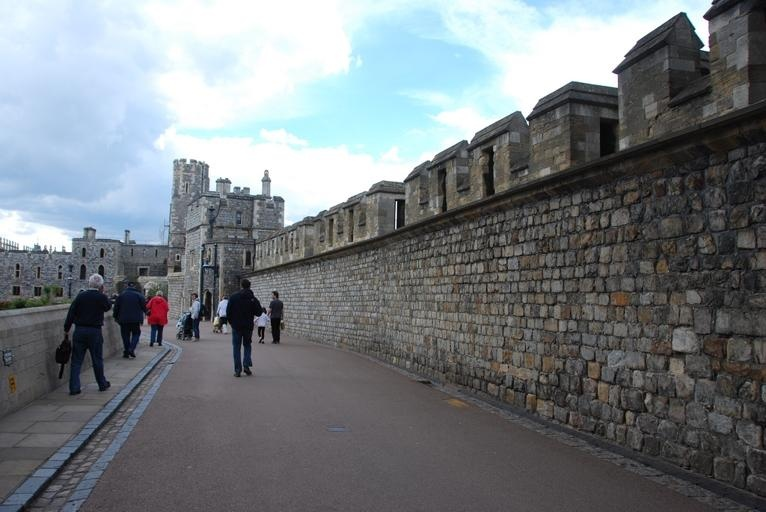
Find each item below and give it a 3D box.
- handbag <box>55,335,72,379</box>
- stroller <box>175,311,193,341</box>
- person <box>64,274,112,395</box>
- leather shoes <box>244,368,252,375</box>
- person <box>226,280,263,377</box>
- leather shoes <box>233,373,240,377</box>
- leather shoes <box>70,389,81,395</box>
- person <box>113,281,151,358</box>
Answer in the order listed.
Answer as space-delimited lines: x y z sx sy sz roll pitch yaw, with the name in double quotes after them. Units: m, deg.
-5.010 1.595 9.666 0.227 0.823 0.795 0 4 -27 "handbag"
-6.614 2.315 20.472 0.446 0.940 0.947 0 4 -21 "stroller"
-4.867 1.265 10.175 0.657 1.942 1.456 0 4 -24 "person"
-2.607 2.232 11.931 0.172 0.184 0.098 -2 -1 19 "leather shoes"
-2.681 1.390 11.829 0.595 1.844 0.584 3 4 15 "person"
-2.780 2.258 11.734 0.046 0.092 0.120 0 4 -42 "leather shoes"
-4.792 2.112 9.573 0.149 0.082 0.192 1 3 -21 "leather shoes"
-5.791 1.462 14.100 0.689 1.811 1.173 0 4 -23 "person"
